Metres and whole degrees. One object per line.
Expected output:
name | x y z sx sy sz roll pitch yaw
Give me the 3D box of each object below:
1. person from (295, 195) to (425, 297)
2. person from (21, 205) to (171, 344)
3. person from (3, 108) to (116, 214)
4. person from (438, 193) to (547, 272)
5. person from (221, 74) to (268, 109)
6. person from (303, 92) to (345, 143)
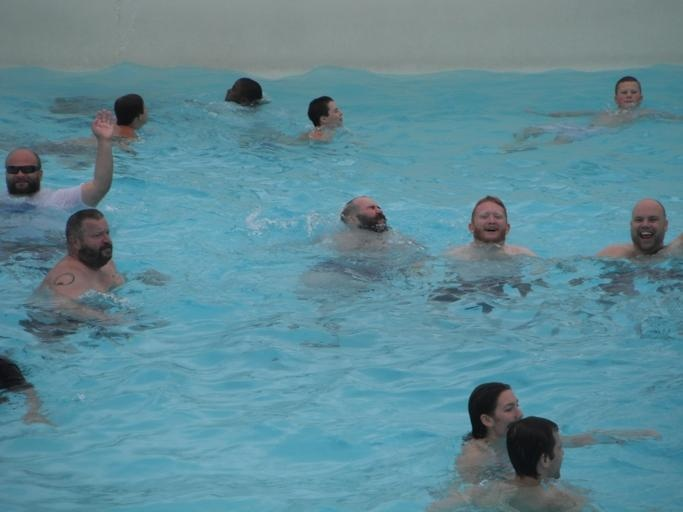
person | 0.257 -0.160 8.195 1.267 1.120 1.325 0 -2 5
person | -2.416 0.144 6.904 1.134 1.205 0.806 3 -4 -42
person | -3.117 -1.044 8.283 1.452 1.040 0.624 -1 -3 36
person | 1.620 -0.271 8.448 1.270 0.564 0.454 -1 -11 -20
person | -1.730 -2.929 13.374 0.854 0.234 0.715 12 32 13
person | -0.320 -2.198 11.977 0.605 0.757 0.337 0 -3 -1
